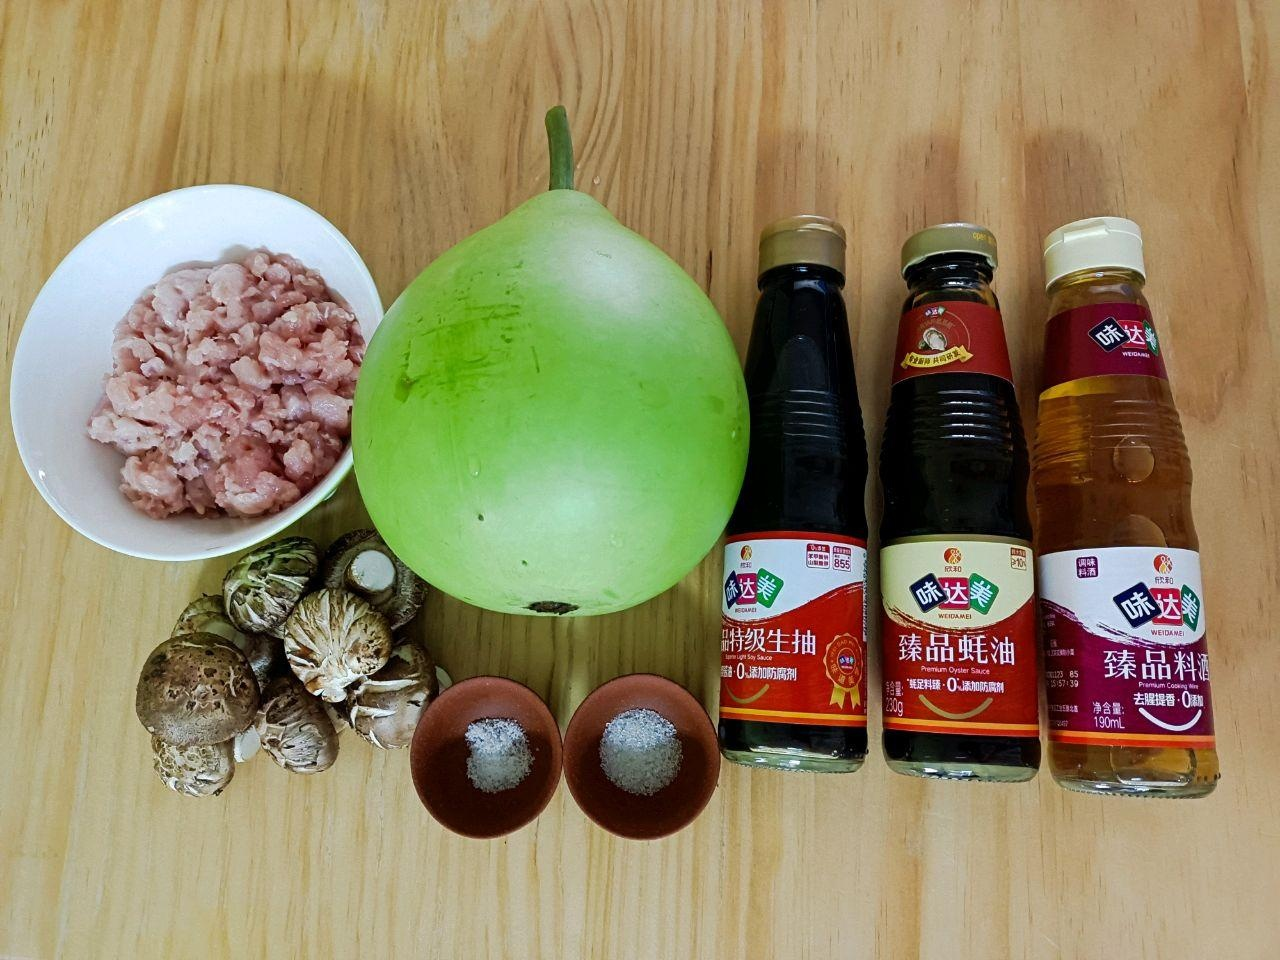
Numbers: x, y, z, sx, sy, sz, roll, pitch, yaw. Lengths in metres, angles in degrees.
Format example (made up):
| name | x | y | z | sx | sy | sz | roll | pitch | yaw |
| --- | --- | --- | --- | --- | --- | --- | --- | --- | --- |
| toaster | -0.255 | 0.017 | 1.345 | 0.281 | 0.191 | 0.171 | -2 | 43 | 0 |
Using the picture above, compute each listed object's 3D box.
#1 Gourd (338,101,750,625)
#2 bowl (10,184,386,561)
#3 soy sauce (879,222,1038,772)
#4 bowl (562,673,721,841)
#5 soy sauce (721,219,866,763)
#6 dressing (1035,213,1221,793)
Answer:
| name | x | y | z | sx | sy | sz | roll | pitch | yaw |
| --- | --- | --- | --- | --- | --- | --- | --- | --- | --- |
| Gourd | -0.078 | -0.052 | 1.189 | 0.349 | 0.132 | 0.348 | -41 | 82 | -10 |
| bowl | -0.444 | -0.106 | 1.351 | 0.349 | 0.078 | 0.378 | 1 | 77 | -2 |
| soy sauce | 0.304 | 0.019 | 1.293 | 0.141 | 0.102 | 0.520 | 0 | 77 | -3 |
| bowl | 0.001 | 0.264 | 1.293 | 0.146 | 0.047 | 0.150 | 1 | 77 | -2 |
| soy sauce | 0.151 | 0.012 | 1.297 | 0.135 | 0.110 | 0.518 | 2 | 77 | -2 |
| dressing | 0.471 | 0.026 | 1.302 | 0.171 | 0.118 | 0.541 | 4 | 77 | -2 |
